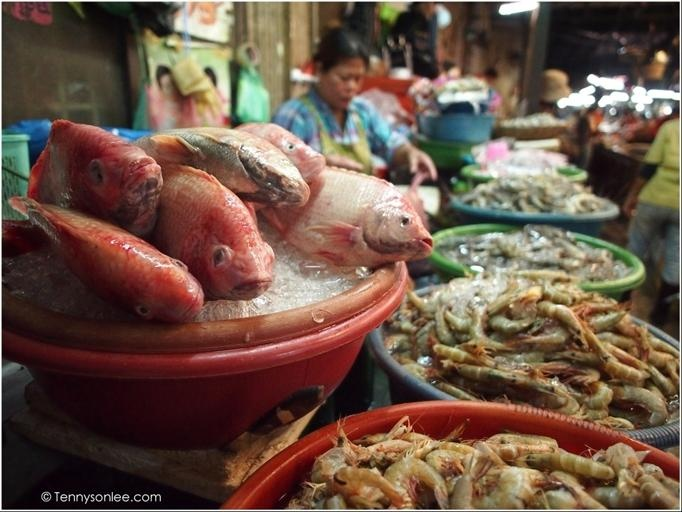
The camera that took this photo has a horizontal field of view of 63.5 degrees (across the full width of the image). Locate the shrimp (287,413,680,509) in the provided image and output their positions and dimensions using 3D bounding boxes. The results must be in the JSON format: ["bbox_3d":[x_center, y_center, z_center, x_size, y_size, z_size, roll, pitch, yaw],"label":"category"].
[{"bbox_3d":[0.323,0.496,1.316,0.337,0.135,0.242,3,8,-19],"label":"shrimp"}]

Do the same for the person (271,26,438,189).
[{"bbox_3d":[0.181,-0.790,2.943,0.415,0.737,1.074,12,21,35],"label":"person"}]

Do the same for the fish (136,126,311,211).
[{"bbox_3d":[-0.255,-0.215,1.318,0.300,0.207,0.218,-7,14,-30],"label":"fish"}]

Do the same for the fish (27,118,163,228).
[{"bbox_3d":[-0.582,-0.195,1.301,0.335,0.233,0.250,11,24,13],"label":"fish"}]

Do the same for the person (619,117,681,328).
[{"bbox_3d":[1.613,-0.180,2.868,0.285,1.104,0.279,-2,19,-11],"label":"person"}]

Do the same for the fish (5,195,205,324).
[{"bbox_3d":[-0.511,0.008,1.207,0.438,0.216,0.084,10,20,12],"label":"fish"}]

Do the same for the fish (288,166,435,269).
[{"bbox_3d":[0.048,-0.089,1.454,0.388,0.236,0.135,9,20,9],"label":"fish"}]
